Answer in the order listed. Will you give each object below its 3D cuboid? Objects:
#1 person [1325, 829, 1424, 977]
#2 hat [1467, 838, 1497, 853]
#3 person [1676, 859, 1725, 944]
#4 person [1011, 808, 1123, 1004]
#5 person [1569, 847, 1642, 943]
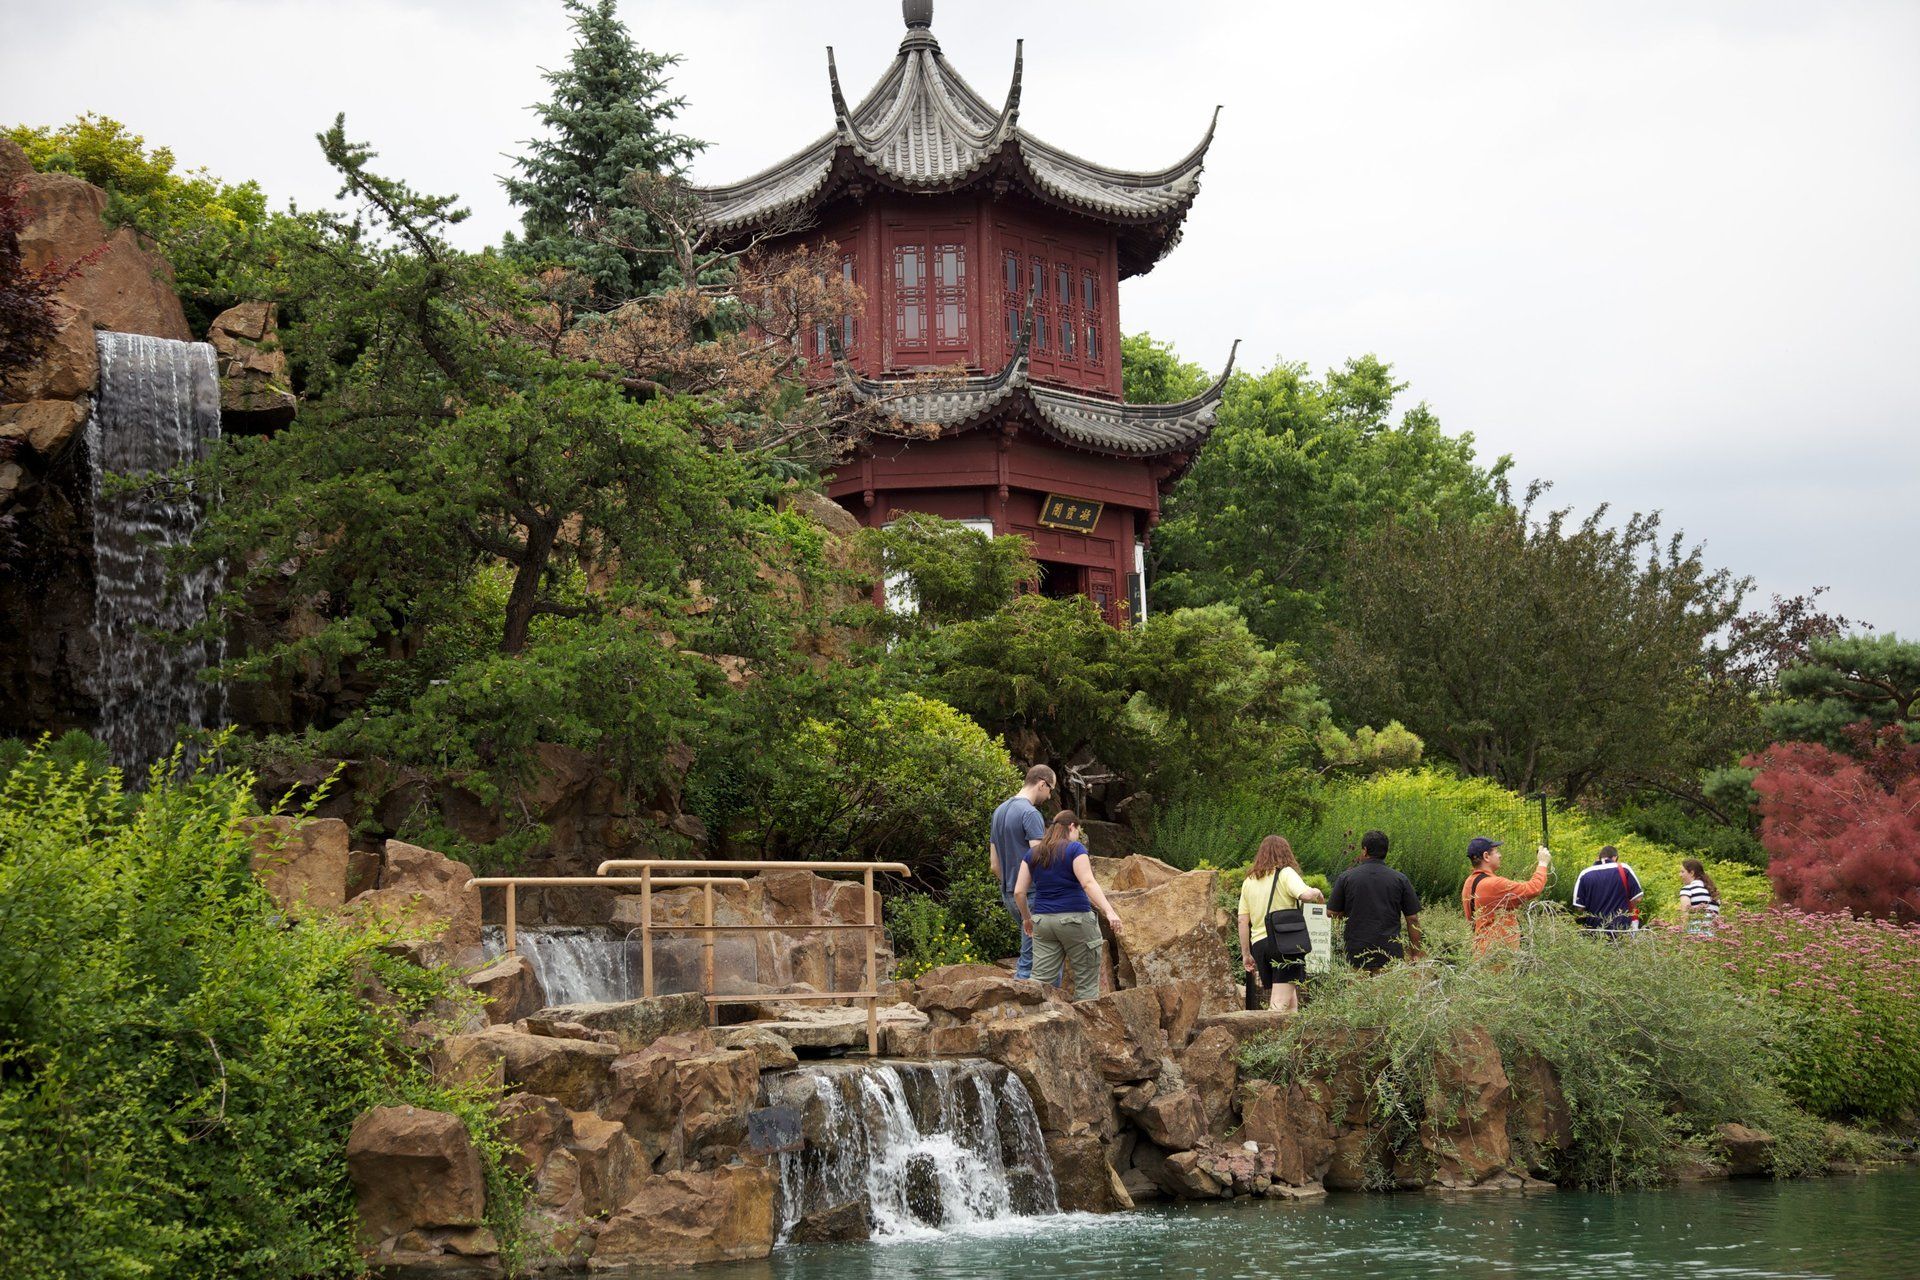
[{"bbox_3d":[4.645,2.930,26.602,1.008,1.512,0.951,-2,-10,9],"label":"person"},{"bbox_3d":[5.923,2.316,27.075,0.254,0.218,0.465,-3,-11,12],"label":"hat"},{"bbox_3d":[9.584,3.464,30.885,0.514,0.513,1.586,-1,-55,12],"label":"person"},{"bbox_3d":[1.121,2.919,26.053,1.010,2.028,1.177,0,-10,0],"label":"person"},{"bbox_3d":[7.891,3.004,29.010,0.742,1.162,1.494,-3,-11,14],"label":"person"}]
